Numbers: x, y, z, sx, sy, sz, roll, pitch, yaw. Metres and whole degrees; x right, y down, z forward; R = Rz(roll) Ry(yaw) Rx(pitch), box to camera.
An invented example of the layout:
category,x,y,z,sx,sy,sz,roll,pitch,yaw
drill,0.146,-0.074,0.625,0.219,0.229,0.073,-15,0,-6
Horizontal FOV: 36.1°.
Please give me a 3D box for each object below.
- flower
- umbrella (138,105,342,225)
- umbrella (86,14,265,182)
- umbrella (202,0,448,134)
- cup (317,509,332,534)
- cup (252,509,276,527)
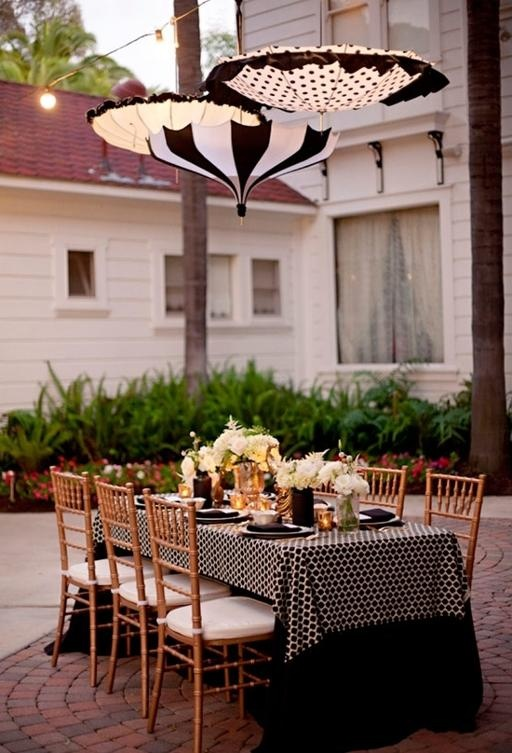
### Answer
category,x,y,z,sx,sy,sz,roll,pitch,yaw
flower,0.125,0.474,4.079,0.845,0.368,0.552,9,2,35
umbrella,-0.130,-1.602,5.683,0.984,0.394,0.952,0,-2,-15
umbrella,-0.695,-2.074,5.908,0.961,0.905,0.925,4,-2,-7
umbrella,0.446,-2.049,5.415,1.649,0.343,1.072,-2,4,0
cup,0.343,0.719,3.851,0.085,0.089,0.082,0,4,0
cup,0.036,0.712,3.899,0.087,0.037,0.083,-3,-4,0
